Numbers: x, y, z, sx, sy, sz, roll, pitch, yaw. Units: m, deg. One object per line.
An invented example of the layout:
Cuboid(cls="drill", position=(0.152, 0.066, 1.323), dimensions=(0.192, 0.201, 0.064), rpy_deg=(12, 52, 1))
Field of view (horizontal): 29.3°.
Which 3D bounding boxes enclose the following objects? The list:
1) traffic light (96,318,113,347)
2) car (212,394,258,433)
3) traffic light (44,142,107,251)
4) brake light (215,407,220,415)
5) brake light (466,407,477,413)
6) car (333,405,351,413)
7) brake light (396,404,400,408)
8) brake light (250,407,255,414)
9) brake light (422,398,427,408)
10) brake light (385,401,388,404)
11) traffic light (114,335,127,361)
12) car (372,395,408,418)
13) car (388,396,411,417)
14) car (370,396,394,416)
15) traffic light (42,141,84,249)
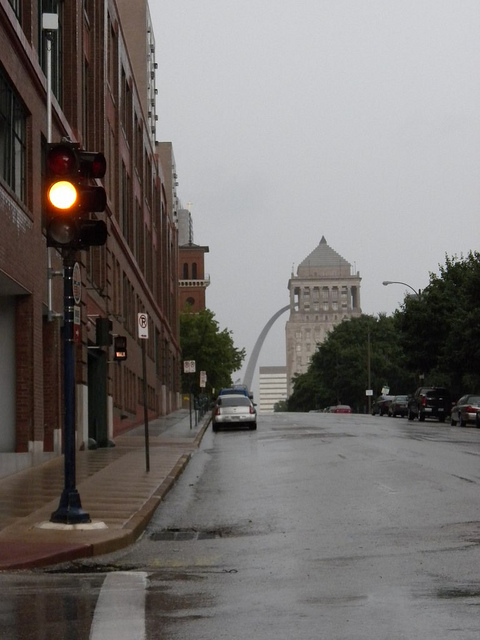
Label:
Cuboid(cls="traffic light", position=(-2.603, 0.238, 17.597), dimensions=(0.291, 0.976, 0.415), rpy_deg=(0, -1, -1))
Cuboid(cls="car", position=(-0.248, 3.601, 36.052), dimensions=(1.024, 1.275, 2.839), rpy_deg=(-1, 0, 1))
Cuboid(cls="traffic light", position=(-1.748, -1.348, 9.697), dimensions=(0.720, 1.184, 0.580), rpy_deg=(5, -8, -30))
Cuboid(cls="brake light", position=(-0.897, 3.477, 35.272), dimensions=(0.138, 0.290, 0.569), rpy_deg=(3, -10, -21))
Cuboid(cls="brake light", position=(9.666, 3.711, 38.105), dimensions=(0.102, 0.236, 0.615), rpy_deg=(4, -10, -30))
Cuboid(cls="car", position=(9.298, 7.954, 82.314), dimensions=(1.217, 0.863, 3.527), rpy_deg=(0, -10, 4))
Cuboid(cls="brake light", position=(9.543, 5.128, 55.245), dimensions=(0.229, 0.193, 0.080), rpy_deg=(-5, -8, 35))
Cuboid(cls="brake light", position=(0.454, 3.405, 34.747), dimensions=(0.170, 0.263, 0.366), rpy_deg=(1, -9, 0))
Cuboid(cls="brake light", position=(9.215, 4.075, 45.566), dimensions=(0.253, 0.466, 0.199), rpy_deg=(-3, -7, 26))
Cuboid(cls="brake light", position=(9.716, 5.398, 60.624), dimensions=(0.154, 0.210, 0.579), rpy_deg=(0, -10, 3))
Cuboid(cls="traffic light", position=(-2.547, 0.535, 19.373), dimensions=(0.242, 0.557, 0.797), rpy_deg=(2, -9, -12))
Cuboid(cls="car", position=(9.752, 5.468, 57.613), dimensions=(0.941, 1.333, 2.945), rpy_deg=(1, -2, 1))
Cuboid(cls="car", position=(9.641, 5.164, 55.038), dimensions=(0.978, 1.375, 3.068), rpy_deg=(0, 0, 4))
Cuboid(cls="car", position=(9.922, 5.838, 62.909), dimensions=(0.777, 1.239, 2.538), rpy_deg=(0, -2, -1))
Cuboid(cls="traffic light", position=(-1.847, -1.159, 9.643), dimensions=(0.326, 1.499, 0.719), rpy_deg=(-6, -34, -6))
